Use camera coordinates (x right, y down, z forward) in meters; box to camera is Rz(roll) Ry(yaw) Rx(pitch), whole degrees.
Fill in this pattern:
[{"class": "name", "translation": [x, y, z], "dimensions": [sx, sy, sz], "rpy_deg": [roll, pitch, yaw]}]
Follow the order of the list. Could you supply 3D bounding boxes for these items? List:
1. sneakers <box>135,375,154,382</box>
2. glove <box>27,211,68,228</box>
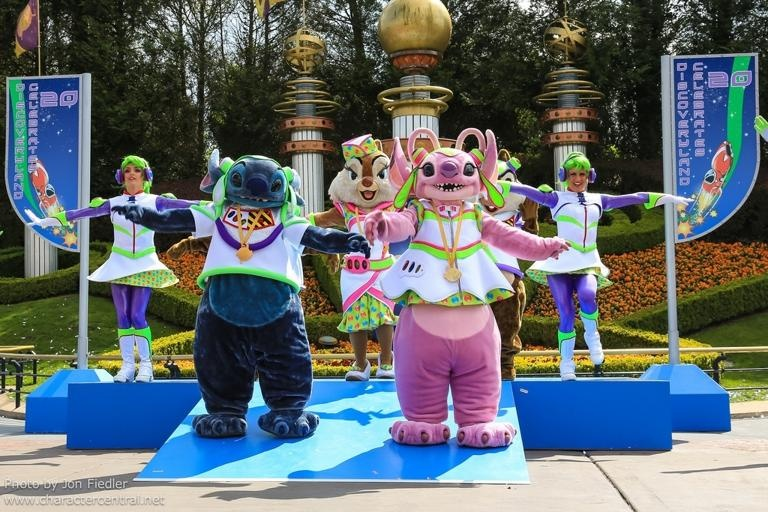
[{"class": "sneakers", "translation": [-3.166, 1.616, 13.608], "dimensions": [0.226, 0.081, 0.079], "rpy_deg": [5, -7, -8]}, {"class": "glove", "translation": [-4.407, -0.457, 13.293], "dimensions": [0.407, 0.133, 0.354], "rpy_deg": [6, -1, 13]}]
